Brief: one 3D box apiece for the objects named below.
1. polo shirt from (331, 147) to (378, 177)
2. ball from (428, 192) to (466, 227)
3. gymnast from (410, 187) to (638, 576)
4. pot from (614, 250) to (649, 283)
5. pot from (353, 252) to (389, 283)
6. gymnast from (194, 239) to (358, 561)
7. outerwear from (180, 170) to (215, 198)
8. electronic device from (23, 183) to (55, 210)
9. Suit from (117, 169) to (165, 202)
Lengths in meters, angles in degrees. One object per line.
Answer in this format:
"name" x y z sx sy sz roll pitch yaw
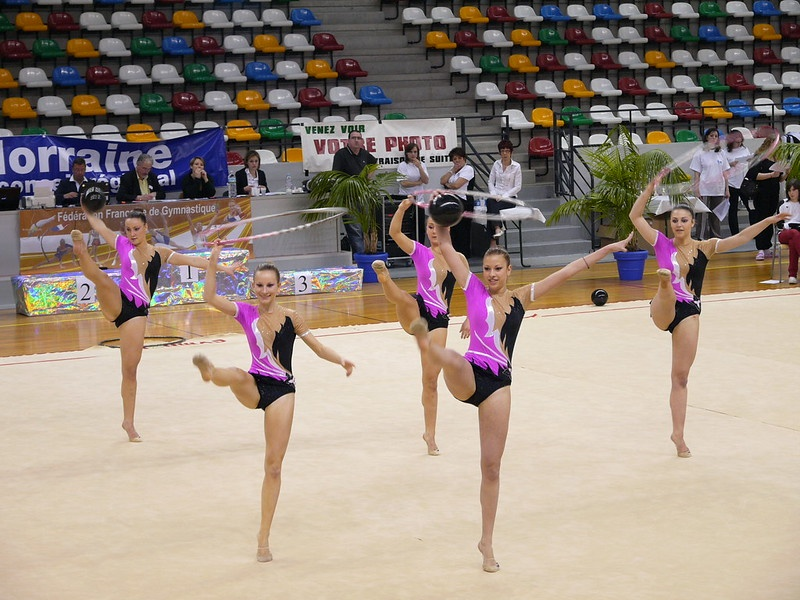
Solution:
"polo shirt" -0.773 -2.184 13.433 0.663 0.488 0.286 -6 5 -19
"ball" 0.258 -0.515 4.888 0.203 0.194 0.208 -1 12 0
"gymnast" 0.603 0.438 4.941 0.955 2.090 1.496 4 14 21
"pot" 3.598 -0.525 13.296 0.641 0.492 0.630 0 4 0
"pot" -0.490 -0.551 13.303 0.601 0.459 0.589 -1 2 0
"gymnast" -0.724 0.583 5.087 0.835 1.792 1.038 -3 13 -8
"outerwear" -3.023 -1.703 12.634 0.370 0.438 0.385 -2 -9 -33
"electronic device" -5.005 -1.435 11.765 0.398 0.294 0.441 -7 14 -24
"Suit" -3.834 -1.669 12.426 0.402 0.720 0.581 2 7 45
